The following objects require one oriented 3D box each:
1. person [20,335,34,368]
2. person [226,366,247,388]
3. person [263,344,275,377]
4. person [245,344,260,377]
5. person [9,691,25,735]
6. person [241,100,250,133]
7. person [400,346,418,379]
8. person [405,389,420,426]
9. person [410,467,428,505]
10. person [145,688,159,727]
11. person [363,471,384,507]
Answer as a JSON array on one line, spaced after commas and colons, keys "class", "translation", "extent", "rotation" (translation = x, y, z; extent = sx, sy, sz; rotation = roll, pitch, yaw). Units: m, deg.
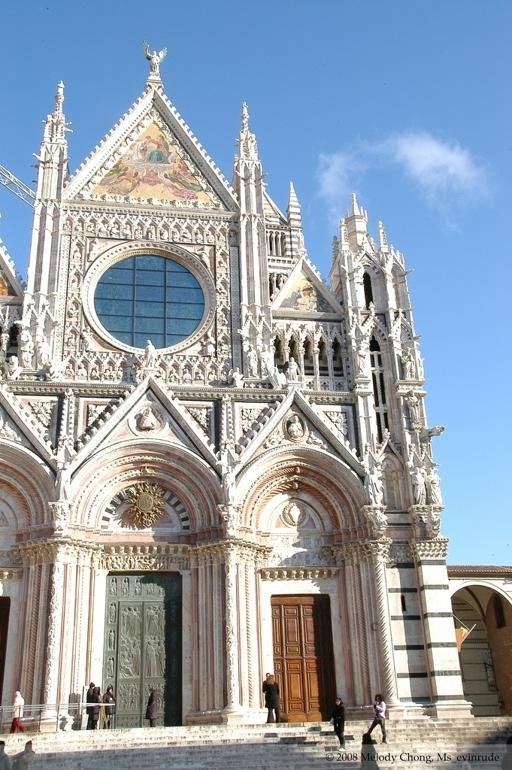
[{"class": "person", "translation": [-5.639, -0.797, 18.586], "extent": [0.297, 0.961, 0.191], "rotation": [9, -25, -29]}, {"class": "person", "translation": [-0.516, -0.123, 19.141], "extent": [0.526, 0.798, 0.453], "rotation": [2, -51, -2]}, {"class": "person", "translation": [0.318, -0.590, 19.646], "extent": [0.310, 1.083, 0.497], "rotation": [-4, -21, 1]}, {"class": "person", "translation": [-0.099, -0.601, 19.650], "extent": [0.306, 1.002, 0.231], "rotation": [-4, -21, 1]}, {"class": "person", "translation": [-4.486, 6.167, 14.280], "extent": [0.234, 0.724, 1.640], "rotation": [3, -21, -16]}, {"class": "person", "translation": [-0.380, -8.395, 23.940], "extent": [0.159, 1.262, 0.255], "rotation": [-8, -22, 11]}, {"class": "person", "translation": [4.074, -0.536, 20.145], "extent": [0.367, 1.036, 0.284], "rotation": [-8, -22, 11]}, {"class": "person", "translation": [4.052, 0.665, 19.516], "extent": [0.361, 1.022, 0.185], "rotation": [-8, -22, 10]}, {"class": "person", "translation": [4.010, 2.488, 18.558], "extent": [0.368, 0.962, 0.223], "rotation": [-5, -21, 2]}, {"class": "person", "translation": [-2.129, 6.562, 15.364], "extent": [0.236, 0.695, 0.951], "rotation": [-1, -21, -8]}, {"class": "person", "translation": [2.837, 2.485, 18.034], "extent": [0.480, 0.929, 0.292], "rotation": [5, -23, -22]}]
